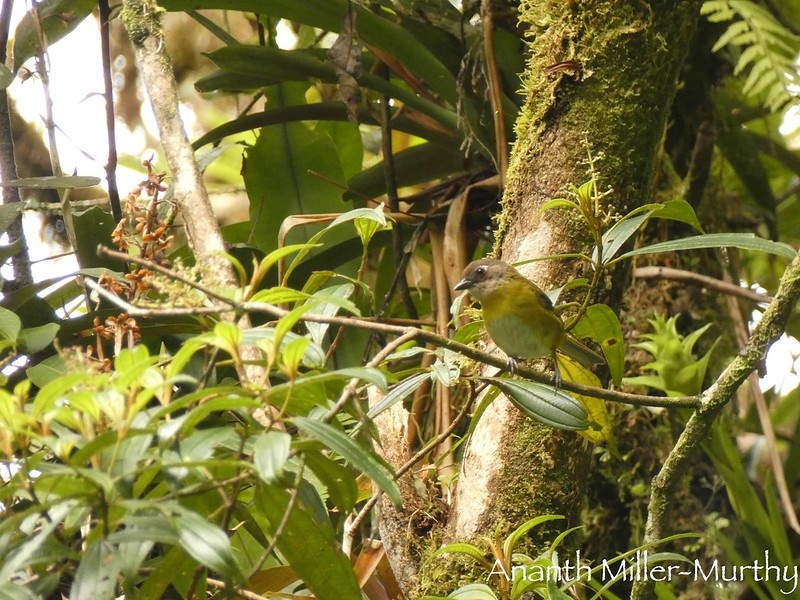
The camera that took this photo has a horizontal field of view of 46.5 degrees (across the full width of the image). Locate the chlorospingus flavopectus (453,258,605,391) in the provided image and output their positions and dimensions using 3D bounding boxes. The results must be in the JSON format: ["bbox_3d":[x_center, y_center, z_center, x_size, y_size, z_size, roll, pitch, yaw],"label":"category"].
[{"bbox_3d":[0.438,0.069,3.139,0.560,0.421,0.248,7,-26,-39],"label":"chlorospingus flavopectus"}]
